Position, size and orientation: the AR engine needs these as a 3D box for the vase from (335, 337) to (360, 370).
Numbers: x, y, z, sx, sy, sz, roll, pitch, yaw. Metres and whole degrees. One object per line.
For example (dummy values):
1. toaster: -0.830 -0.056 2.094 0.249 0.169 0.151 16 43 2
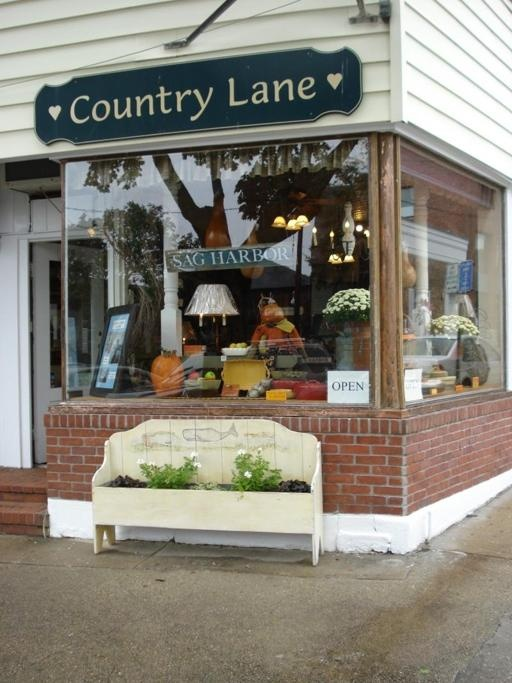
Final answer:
1. vase: 0.646 0.088 5.294 0.072 0.246 0.186 -2 3 -39

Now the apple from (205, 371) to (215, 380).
1. apple: -0.369 0.272 5.814 0.080 0.058 0.098 -2 3 -30

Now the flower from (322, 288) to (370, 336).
1. flower: 0.660 -0.228 5.352 0.097 0.334 0.467 -1 2 -33

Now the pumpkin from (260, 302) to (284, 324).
1. pumpkin: 0.126 -0.231 5.826 0.227 0.156 0.044 2 3 44

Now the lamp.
1. lamp: -0.348 -0.211 6.230 0.496 0.591 0.503 0 -3 -3

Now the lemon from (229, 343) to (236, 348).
1. lemon: -0.194 0.029 5.910 0.033 0.041 0.033 -7 3 -20

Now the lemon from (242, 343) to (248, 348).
1. lemon: -0.093 0.029 5.879 0.036 0.029 0.028 -3 -1 12

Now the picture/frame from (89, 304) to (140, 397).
1. picture/frame: -1.171 0.072 5.936 0.348 0.745 0.041 -2 -18 42

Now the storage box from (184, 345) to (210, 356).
1. storage box: -0.516 0.069 6.014 0.113 0.072 0.118 0 -2 6

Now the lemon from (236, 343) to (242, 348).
1. lemon: -0.142 0.027 5.892 0.036 0.025 0.045 1 -2 -2

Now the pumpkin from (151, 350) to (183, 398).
1. pumpkin: -0.719 0.252 5.885 0.284 0.471 0.297 0 -8 8

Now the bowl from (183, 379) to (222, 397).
1. bowl: -0.432 0.366 5.739 0.220 0.100 0.151 -2 -4 17
